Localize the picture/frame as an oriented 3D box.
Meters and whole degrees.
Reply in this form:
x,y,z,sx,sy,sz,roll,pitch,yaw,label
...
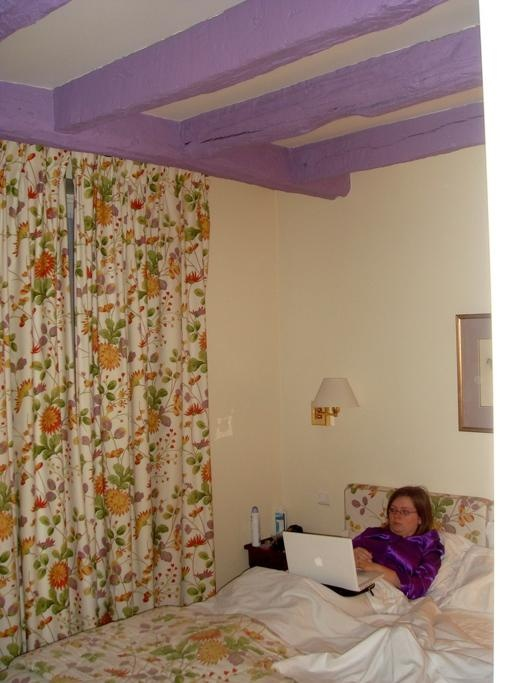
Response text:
x,y,z,sx,sy,sz,roll,pitch,yaw,label
1.267,0.178,3.432,0.114,0.713,0.266,-3,-1,-28,picture/frame

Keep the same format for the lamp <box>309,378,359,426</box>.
x,y,z,sx,sy,sz,roll,pitch,yaw,label
0.522,0.430,3.934,0.344,0.388,0.400,-1,0,-4,lamp
